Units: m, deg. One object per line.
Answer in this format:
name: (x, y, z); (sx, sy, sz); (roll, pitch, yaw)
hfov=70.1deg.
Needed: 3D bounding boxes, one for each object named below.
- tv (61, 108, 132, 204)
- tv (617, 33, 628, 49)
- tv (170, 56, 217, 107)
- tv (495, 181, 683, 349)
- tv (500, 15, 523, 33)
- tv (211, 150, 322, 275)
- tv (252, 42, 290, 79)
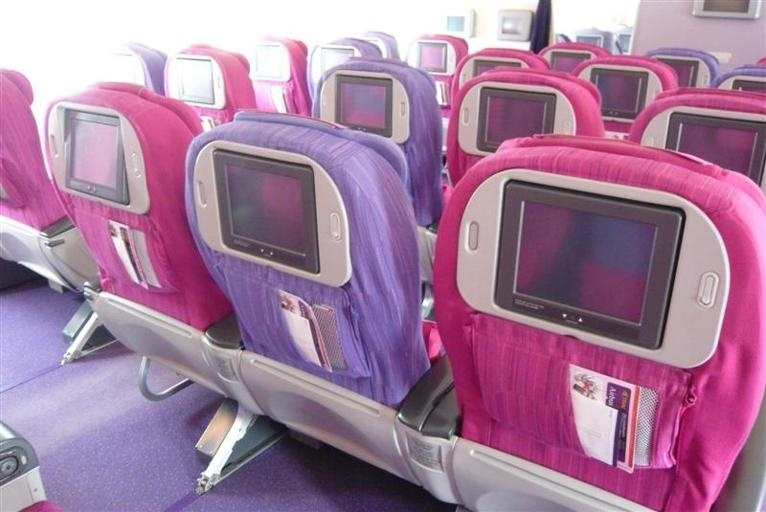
tv: (-0.863, -0.314, 1.667); (0.251, 0.291, 0.031); (11, 18, 32)
tv: (2.530, -2.267, 5.782); (0.100, 0.146, 0.115); (12, 61, 27)
tv: (-1.153, -1.084, 3.503); (0.371, 0.361, 0.094); (6, 18, 24)
tv: (0.433, 0.009, 1.122); (0.309, 0.257, 0.035); (12, 21, 26)
tv: (1.569, -2.829, 6.664); (0.213, 0.156, 0.031); (24, 52, 33)
tv: (-0.290, -0.123, 1.401); (0.282, 0.251, 0.029); (12, 25, 30)
tv: (-0.968, -1.723, 4.790); (0.243, 0.219, 0.136); (18, 31, 29)
